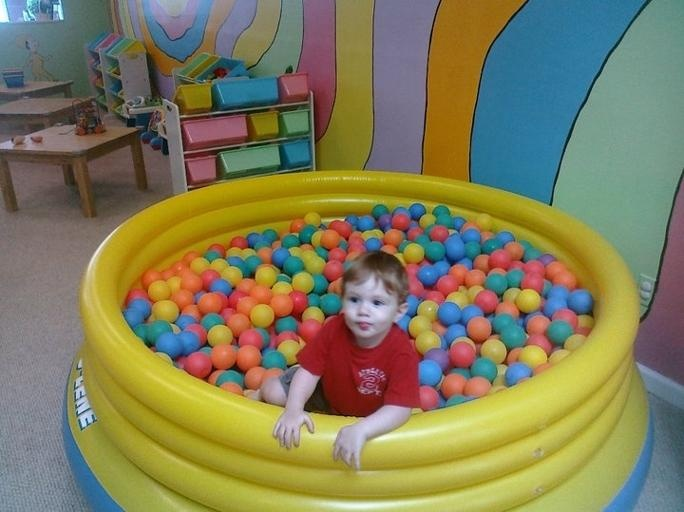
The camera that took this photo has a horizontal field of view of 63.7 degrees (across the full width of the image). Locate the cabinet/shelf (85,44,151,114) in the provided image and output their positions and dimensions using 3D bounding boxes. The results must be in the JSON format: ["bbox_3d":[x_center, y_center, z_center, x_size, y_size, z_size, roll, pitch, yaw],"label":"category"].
[{"bbox_3d":[-2.829,-2.262,6.848,0.820,0.903,0.359,22,29,30],"label":"cabinet/shelf"}]

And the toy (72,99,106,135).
[{"bbox_3d":[-2.246,-1.207,4.875,0.252,0.343,0.193,-8,-10,-28],"label":"toy"}]
